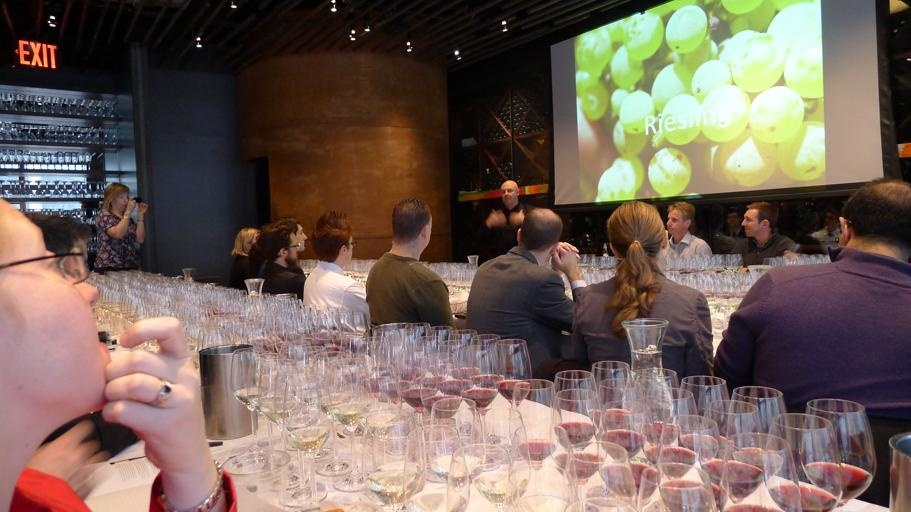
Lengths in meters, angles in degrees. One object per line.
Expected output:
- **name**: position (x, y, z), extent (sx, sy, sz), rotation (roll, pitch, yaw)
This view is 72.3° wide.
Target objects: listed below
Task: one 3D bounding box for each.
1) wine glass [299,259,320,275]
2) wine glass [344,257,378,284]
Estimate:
- **wine glass**: position (-1.648, 0.133, 6.986), extent (0.190, 0.182, 0.190), rotation (2, -4, -32)
- **wine glass**: position (-1.148, 0.178, 7.419), extent (0.360, 0.204, 0.460), rotation (1, -10, -6)
